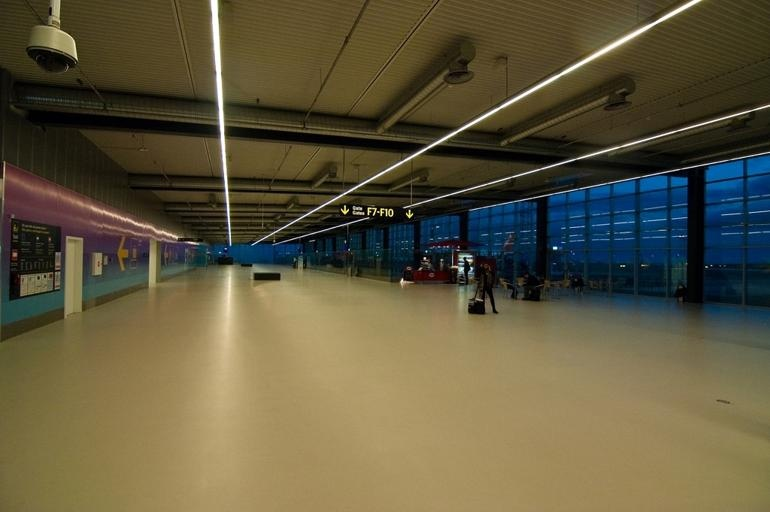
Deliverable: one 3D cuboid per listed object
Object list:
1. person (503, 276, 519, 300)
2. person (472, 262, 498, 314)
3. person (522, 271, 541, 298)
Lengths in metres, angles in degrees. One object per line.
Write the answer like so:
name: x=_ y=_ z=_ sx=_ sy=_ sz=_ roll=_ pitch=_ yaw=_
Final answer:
person: x=5.020 y=1.318 z=18.776 sx=0.685 sy=0.851 sz=0.732 roll=-8 pitch=-6 yaw=21
person: x=2.860 y=0.825 z=13.369 sx=0.497 sy=1.234 sz=0.412 roll=16 pitch=29 yaw=36
person: x=5.094 y=1.084 z=16.323 sx=0.554 sy=0.902 sz=1.028 roll=1 pitch=2 yaw=15
